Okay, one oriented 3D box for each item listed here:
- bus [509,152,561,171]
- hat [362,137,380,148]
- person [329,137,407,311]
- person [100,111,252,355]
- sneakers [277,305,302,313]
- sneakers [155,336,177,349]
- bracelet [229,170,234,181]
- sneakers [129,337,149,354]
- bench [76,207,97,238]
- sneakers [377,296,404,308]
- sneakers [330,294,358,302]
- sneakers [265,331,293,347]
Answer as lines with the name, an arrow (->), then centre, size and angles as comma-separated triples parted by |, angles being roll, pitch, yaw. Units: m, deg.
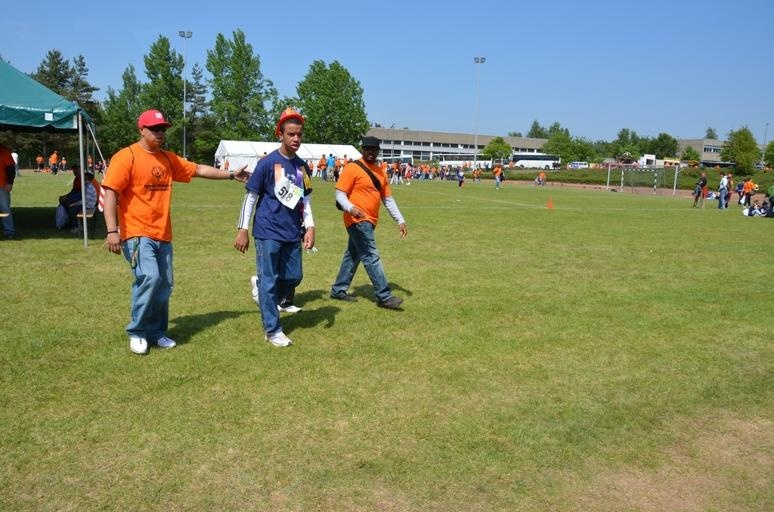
bus -> 22.102, -14.142, 82.736 | 8.069, 1.732, 5.806 | -6, 15, -30
hat -> -0.230, -1.553, 7.549 | 0.251, 0.144, 0.286 | 1, 12, -3
person -> -0.289, -0.553, 8.159 | 1.058, 2.363, 1.387 | 2, 12, 1
person -> -2.574, -0.285, 6.297 | 1.121, 2.642, 0.655 | -7, 14, -34
sneakers -> -1.335, 0.703, 7.521 | 0.276, 0.118, 0.105 | 1, 3, 2
sneakers -> -2.539, 0.995, 6.392 | 0.215, 0.092, 0.117 | 3, 12, 38
bracelet -> -1.864, -0.973, 6.641 | 0.067, 0.106, 0.097 | 3, 6, -1
sneakers -> -2.764, 0.994, 6.206 | 0.117, 0.111, 0.261 | 2, -2, -39
bench -> -6.802, -0.817, 12.552 | 0.426, 0.574, 1.566 | -5, 14, -28
sneakers -> 0.053, 0.651, 7.797 | 0.352, 0.175, 0.154 | -5, 3, 23
sneakers -> -0.650, 0.590, 8.167 | 0.375, 0.151, 0.139 | 0, 3, -5
sneakers -> -1.262, 0.966, 6.515 | 0.316, 0.147, 0.138 | 1, 4, 24
